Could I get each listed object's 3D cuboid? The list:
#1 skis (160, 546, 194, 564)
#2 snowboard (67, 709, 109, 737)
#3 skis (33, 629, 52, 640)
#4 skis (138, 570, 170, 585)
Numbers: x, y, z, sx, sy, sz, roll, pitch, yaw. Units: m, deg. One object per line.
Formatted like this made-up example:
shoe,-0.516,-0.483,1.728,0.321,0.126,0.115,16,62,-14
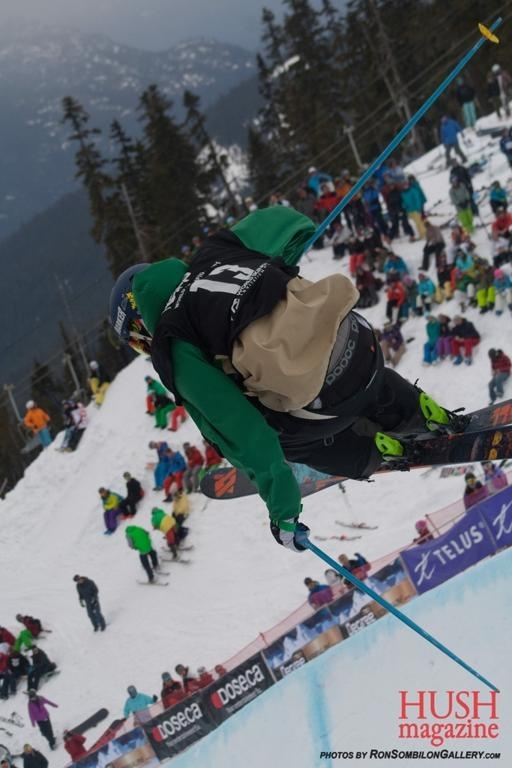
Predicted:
skis,-1.598,3.338,13.779,0.908,0.202,0.217,6,7,36
snowboard,-2.796,5.744,12.106,0.858,0.114,0.216,-26,22,-28
skis,-4.186,4.976,14.127,0.402,0.112,0.070,-26,13,-36
skis,-1.913,3.731,13.572,1.008,0.109,0.179,-3,64,29
